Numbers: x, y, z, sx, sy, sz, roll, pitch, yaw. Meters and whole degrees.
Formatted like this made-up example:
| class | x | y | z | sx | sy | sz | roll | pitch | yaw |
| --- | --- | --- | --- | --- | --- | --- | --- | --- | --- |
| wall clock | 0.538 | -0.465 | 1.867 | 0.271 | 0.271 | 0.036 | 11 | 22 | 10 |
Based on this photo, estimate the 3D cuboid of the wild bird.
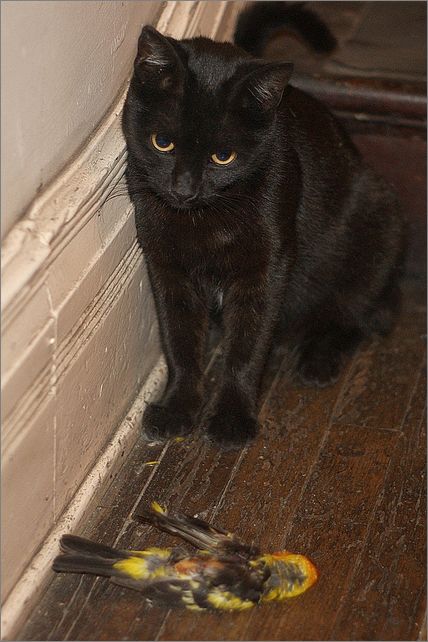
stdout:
| class | x | y | z | sx | sy | sz | roll | pitch | yaw |
| --- | --- | --- | --- | --- | --- | --- | --- | --- | --- |
| wild bird | -0.045 | 0.363 | 0.944 | 0.360 | 0.106 | 0.144 | 8 | 45 | -6 |
